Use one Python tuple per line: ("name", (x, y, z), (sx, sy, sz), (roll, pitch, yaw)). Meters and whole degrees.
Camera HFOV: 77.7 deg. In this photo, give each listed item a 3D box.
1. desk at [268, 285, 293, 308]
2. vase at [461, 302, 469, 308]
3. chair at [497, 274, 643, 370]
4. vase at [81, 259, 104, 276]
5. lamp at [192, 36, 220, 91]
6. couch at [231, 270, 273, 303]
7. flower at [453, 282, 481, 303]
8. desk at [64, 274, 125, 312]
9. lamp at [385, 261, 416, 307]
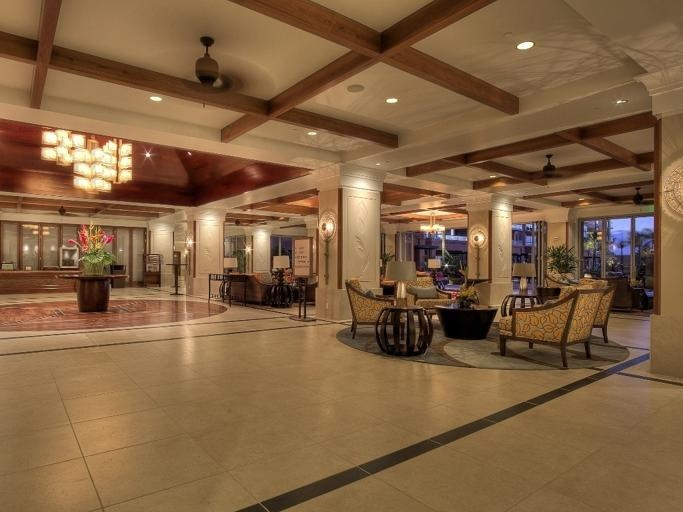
("desk", (-1.720, 1.132, 12.379), (0.583, 0.663, 1.003), (-1, 4, -26))
("vase", (2.161, 0.849, 7.386), (0.125, 0.095, 0.043), (1, 4, 8))
("chair", (3.062, 0.922, 6.318), (1.891, 1.073, 1.238), (2, -2, -42))
("vase", (-5.955, 0.273, 10.183), (0.477, 0.250, 0.435), (0, -2, -10))
("lamp", (-1.611, -2.294, 5.070), (0.230, 0.578, 0.562), (-1, 4, -19))
("couch", (-2.820, 1.001, 13.119), (1.049, 1.037, 1.706), (1, -1, -39))
("flower", (2.220, 0.682, 7.499), (0.339, 0.366, 0.390), (1, 4, 11))
("desk", (-6.093, 0.885, 10.346), (1.145, 0.593, 1.091), (3, -5, -38))
("lamp", (0.918, 0.429, 6.671), (0.450, 0.742, 1.030), (1, 3, 7))
